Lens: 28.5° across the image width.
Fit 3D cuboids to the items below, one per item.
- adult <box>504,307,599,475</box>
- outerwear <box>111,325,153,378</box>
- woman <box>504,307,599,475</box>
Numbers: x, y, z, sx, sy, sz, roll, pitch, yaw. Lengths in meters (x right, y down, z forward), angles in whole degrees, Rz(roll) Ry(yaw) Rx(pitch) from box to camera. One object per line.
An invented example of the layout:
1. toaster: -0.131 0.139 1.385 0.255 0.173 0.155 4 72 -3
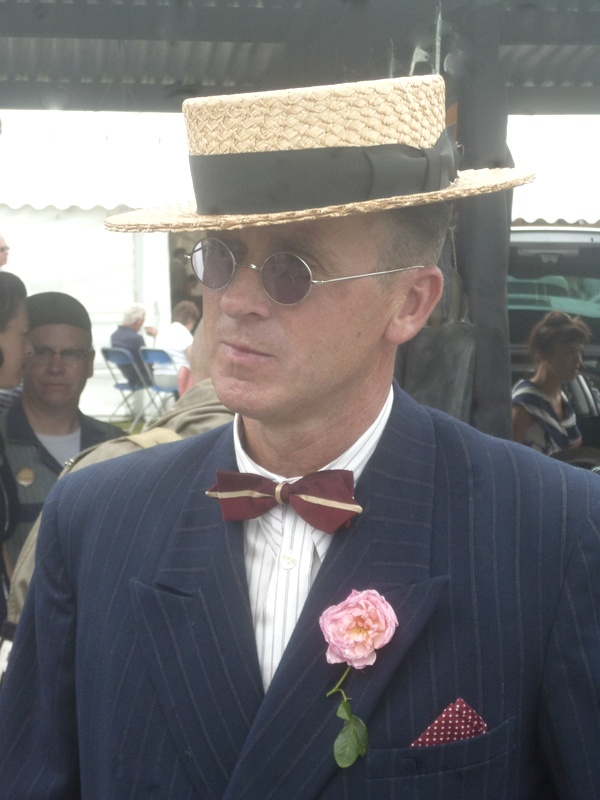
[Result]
1. adult: 0.900 0.001 4.340 0.380 0.723 0.704 -2 3 15
2. outerwear: -1.038 -0.330 7.613 0.194 0.363 0.249 12 40 22
3. woman: 0.959 0.043 4.302 0.380 0.723 0.704 -2 3 15
